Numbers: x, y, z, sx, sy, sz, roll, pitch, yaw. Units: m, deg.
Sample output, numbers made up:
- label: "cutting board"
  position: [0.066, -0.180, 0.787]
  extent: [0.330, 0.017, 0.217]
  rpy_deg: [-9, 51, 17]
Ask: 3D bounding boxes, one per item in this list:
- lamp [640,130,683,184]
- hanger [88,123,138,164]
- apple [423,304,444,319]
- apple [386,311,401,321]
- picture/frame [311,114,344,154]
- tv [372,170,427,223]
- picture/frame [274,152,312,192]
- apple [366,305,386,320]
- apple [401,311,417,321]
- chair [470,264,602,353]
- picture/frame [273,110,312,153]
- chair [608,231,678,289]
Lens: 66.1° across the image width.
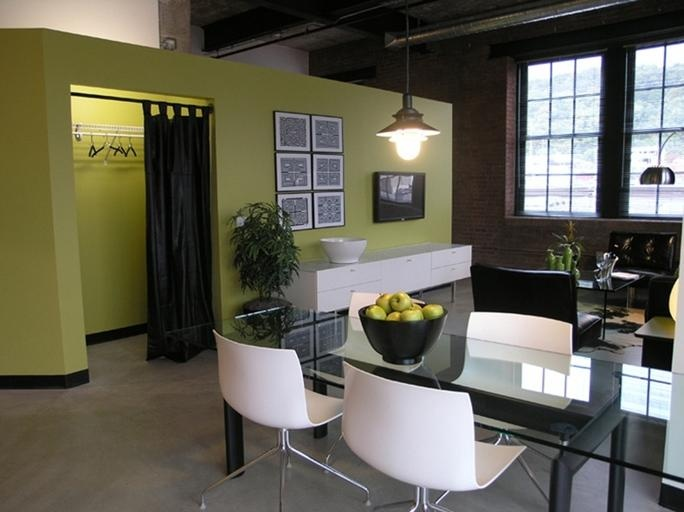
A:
- label: "lamp"
  position: [4.162, -1.261, 6.824]
  extent: [0.410, 0.773, 1.170]
  rpy_deg: [7, 14, 31]
- label: "hanger"
  position: [-2.431, -1.202, 5.605]
  extent: [0.609, 0.358, 0.219]
  rpy_deg: [-7, 13, -27]
- label: "apple"
  position: [0.476, 0.291, 2.726]
  extent: [0.079, 0.074, 0.080]
  rpy_deg: [-11, -9, 0]
- label: "apple"
  position: [0.262, 0.311, 2.666]
  extent: [0.044, 0.047, 0.055]
  rpy_deg: [17, 56, 15]
- label: "picture/frame"
  position: [-0.195, -1.459, 6.277]
  extent: [0.020, 0.418, 0.527]
  rpy_deg: [3, 5, 36]
- label: "tv"
  position: [0.793, -0.827, 7.306]
  extent: [1.086, 0.696, 0.093]
  rpy_deg: [-12, 17, -43]
- label: "picture/frame"
  position: [-0.573, -0.953, 5.940]
  extent: [0.033, 0.387, 0.459]
  rpy_deg: [4, 8, 38]
- label: "apple"
  position: [0.174, 0.308, 2.725]
  extent: [0.083, 0.061, 0.065]
  rpy_deg: [20, -27, -3]
- label: "apple"
  position: [0.346, 0.303, 2.644]
  extent: [0.054, 0.053, 0.054]
  rpy_deg: [-1, 9, 10]
- label: "chair"
  position: [1.792, 0.308, 4.906]
  extent: [0.887, 0.933, 0.892]
  rpy_deg: [6, 10, 43]
- label: "picture/frame"
  position: [-0.580, -1.396, 5.889]
  extent: [0.019, 0.393, 0.526]
  rpy_deg: [4, 6, 36]
- label: "chair"
  position: [4.078, -0.068, 7.212]
  extent: [0.957, 0.935, 0.761]
  rpy_deg: [4, 8, 43]
